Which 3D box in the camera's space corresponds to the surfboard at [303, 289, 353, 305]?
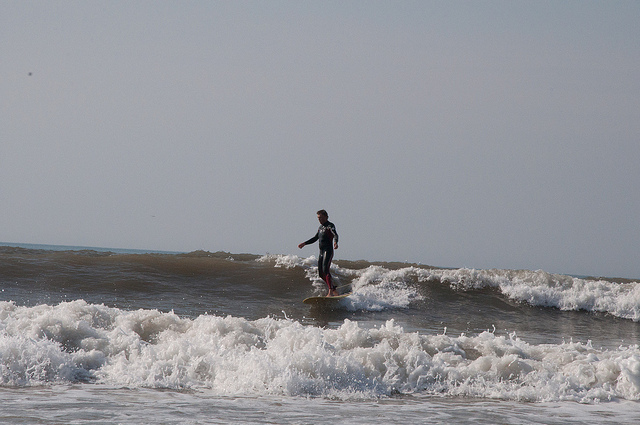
[{"bbox_3d":[0.067,2.019,24.109,0.313,0.197,2.219,29,14,31],"label":"surfboard"}]
